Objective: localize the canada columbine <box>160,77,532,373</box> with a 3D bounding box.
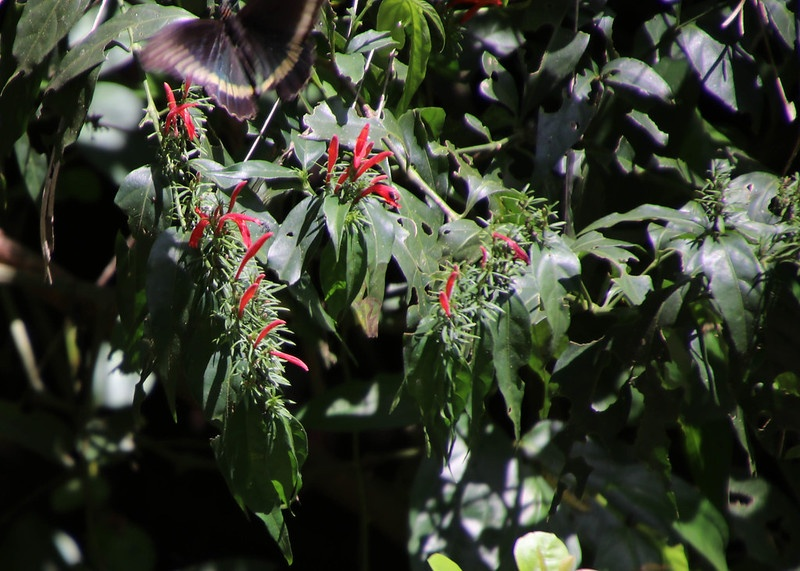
[{"bbox_3d":[-0.093,-0.118,2.281,0.546,0.371,0.218,2,12,-3],"label":"canada columbine"}]
